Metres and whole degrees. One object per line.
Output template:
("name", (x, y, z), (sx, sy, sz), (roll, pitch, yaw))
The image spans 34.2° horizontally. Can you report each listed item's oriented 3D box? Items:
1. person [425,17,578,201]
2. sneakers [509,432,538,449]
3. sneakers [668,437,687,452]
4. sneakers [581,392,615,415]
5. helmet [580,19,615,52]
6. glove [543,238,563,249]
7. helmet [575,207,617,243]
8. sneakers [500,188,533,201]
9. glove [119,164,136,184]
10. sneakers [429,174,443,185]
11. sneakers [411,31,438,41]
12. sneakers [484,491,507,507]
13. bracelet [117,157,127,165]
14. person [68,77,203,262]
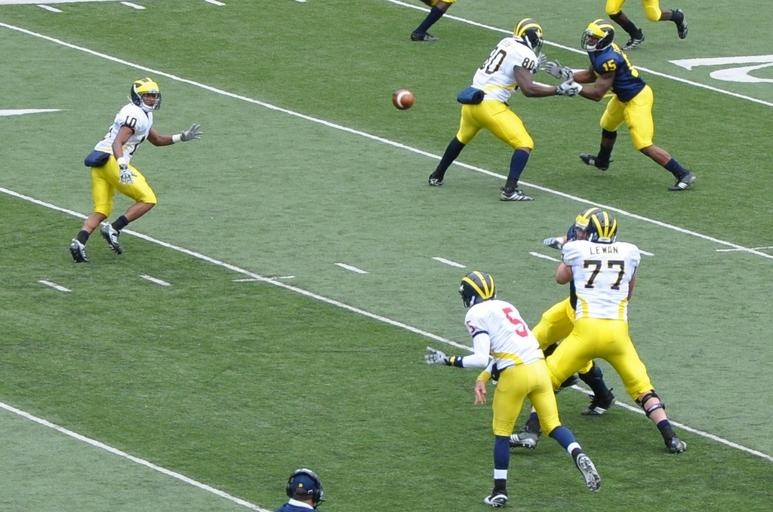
("person", (1.679, -2.001, 17.136), (1.240, 2.450, 0.878), (26, 28, 24))
("sneakers", (1.259, 1.771, 12.091), (0.401, 0.123, 0.112), (4, 16, 0))
("sneakers", (2.796, 1.803, 12.017), (0.158, 0.071, 0.190), (-4, 13, -2))
("sneakers", (2.149, 1.509, 12.669), (0.254, 0.126, 0.431), (19, -29, -26))
("helmet", (2.927, -3.032, 17.246), (0.392, 0.427, 0.348), (4, 24, -17))
("glove", (1.662, -0.129, 12.525), (0.194, 0.046, 0.145), (10, 13, 28))
("helmet", (2.126, -0.315, 12.264), (0.409, 0.284, 0.379), (-1, 23, -22))
("sneakers", (1.817, -0.850, 17.181), (0.556, 0.150, 0.147), (-1, 17, -16))
("glove", (-3.095, -0.990, 14.914), (0.203, 0.205, 0.105), (-17, -12, -16))
("sneakers", (0.687, -1.076, 17.605), (0.145, 0.110, 0.215), (1, -3, 19))
("sneakers", (0.652, -4.031, 22.883), (0.545, 0.149, 0.143), (-2, 23, -18))
("sneakers", (0.991, 2.175, 11.201), (0.249, 0.085, 0.101), (5, 2, 41))
("bracelet", (-3.114, -1.147, 14.890), (0.130, 0.060, 0.108), (-5, 0, 16))
("person", (-3.102, -1.043, 15.172), (1.074, 2.179, 1.523), (11, 24, -7))
